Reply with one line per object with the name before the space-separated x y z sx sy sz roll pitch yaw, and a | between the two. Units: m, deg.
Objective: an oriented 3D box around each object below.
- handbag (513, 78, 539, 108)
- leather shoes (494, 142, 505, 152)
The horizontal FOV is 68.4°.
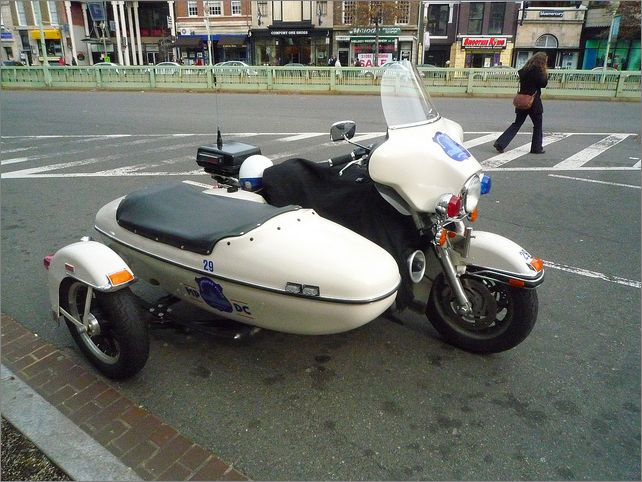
handbag | 4.209 -3.086 9.901 0.310 0.560 0.554 0 15 -40
leather shoes | 3.790 -2.008 10.119 0.138 0.113 0.336 -24 19 7
